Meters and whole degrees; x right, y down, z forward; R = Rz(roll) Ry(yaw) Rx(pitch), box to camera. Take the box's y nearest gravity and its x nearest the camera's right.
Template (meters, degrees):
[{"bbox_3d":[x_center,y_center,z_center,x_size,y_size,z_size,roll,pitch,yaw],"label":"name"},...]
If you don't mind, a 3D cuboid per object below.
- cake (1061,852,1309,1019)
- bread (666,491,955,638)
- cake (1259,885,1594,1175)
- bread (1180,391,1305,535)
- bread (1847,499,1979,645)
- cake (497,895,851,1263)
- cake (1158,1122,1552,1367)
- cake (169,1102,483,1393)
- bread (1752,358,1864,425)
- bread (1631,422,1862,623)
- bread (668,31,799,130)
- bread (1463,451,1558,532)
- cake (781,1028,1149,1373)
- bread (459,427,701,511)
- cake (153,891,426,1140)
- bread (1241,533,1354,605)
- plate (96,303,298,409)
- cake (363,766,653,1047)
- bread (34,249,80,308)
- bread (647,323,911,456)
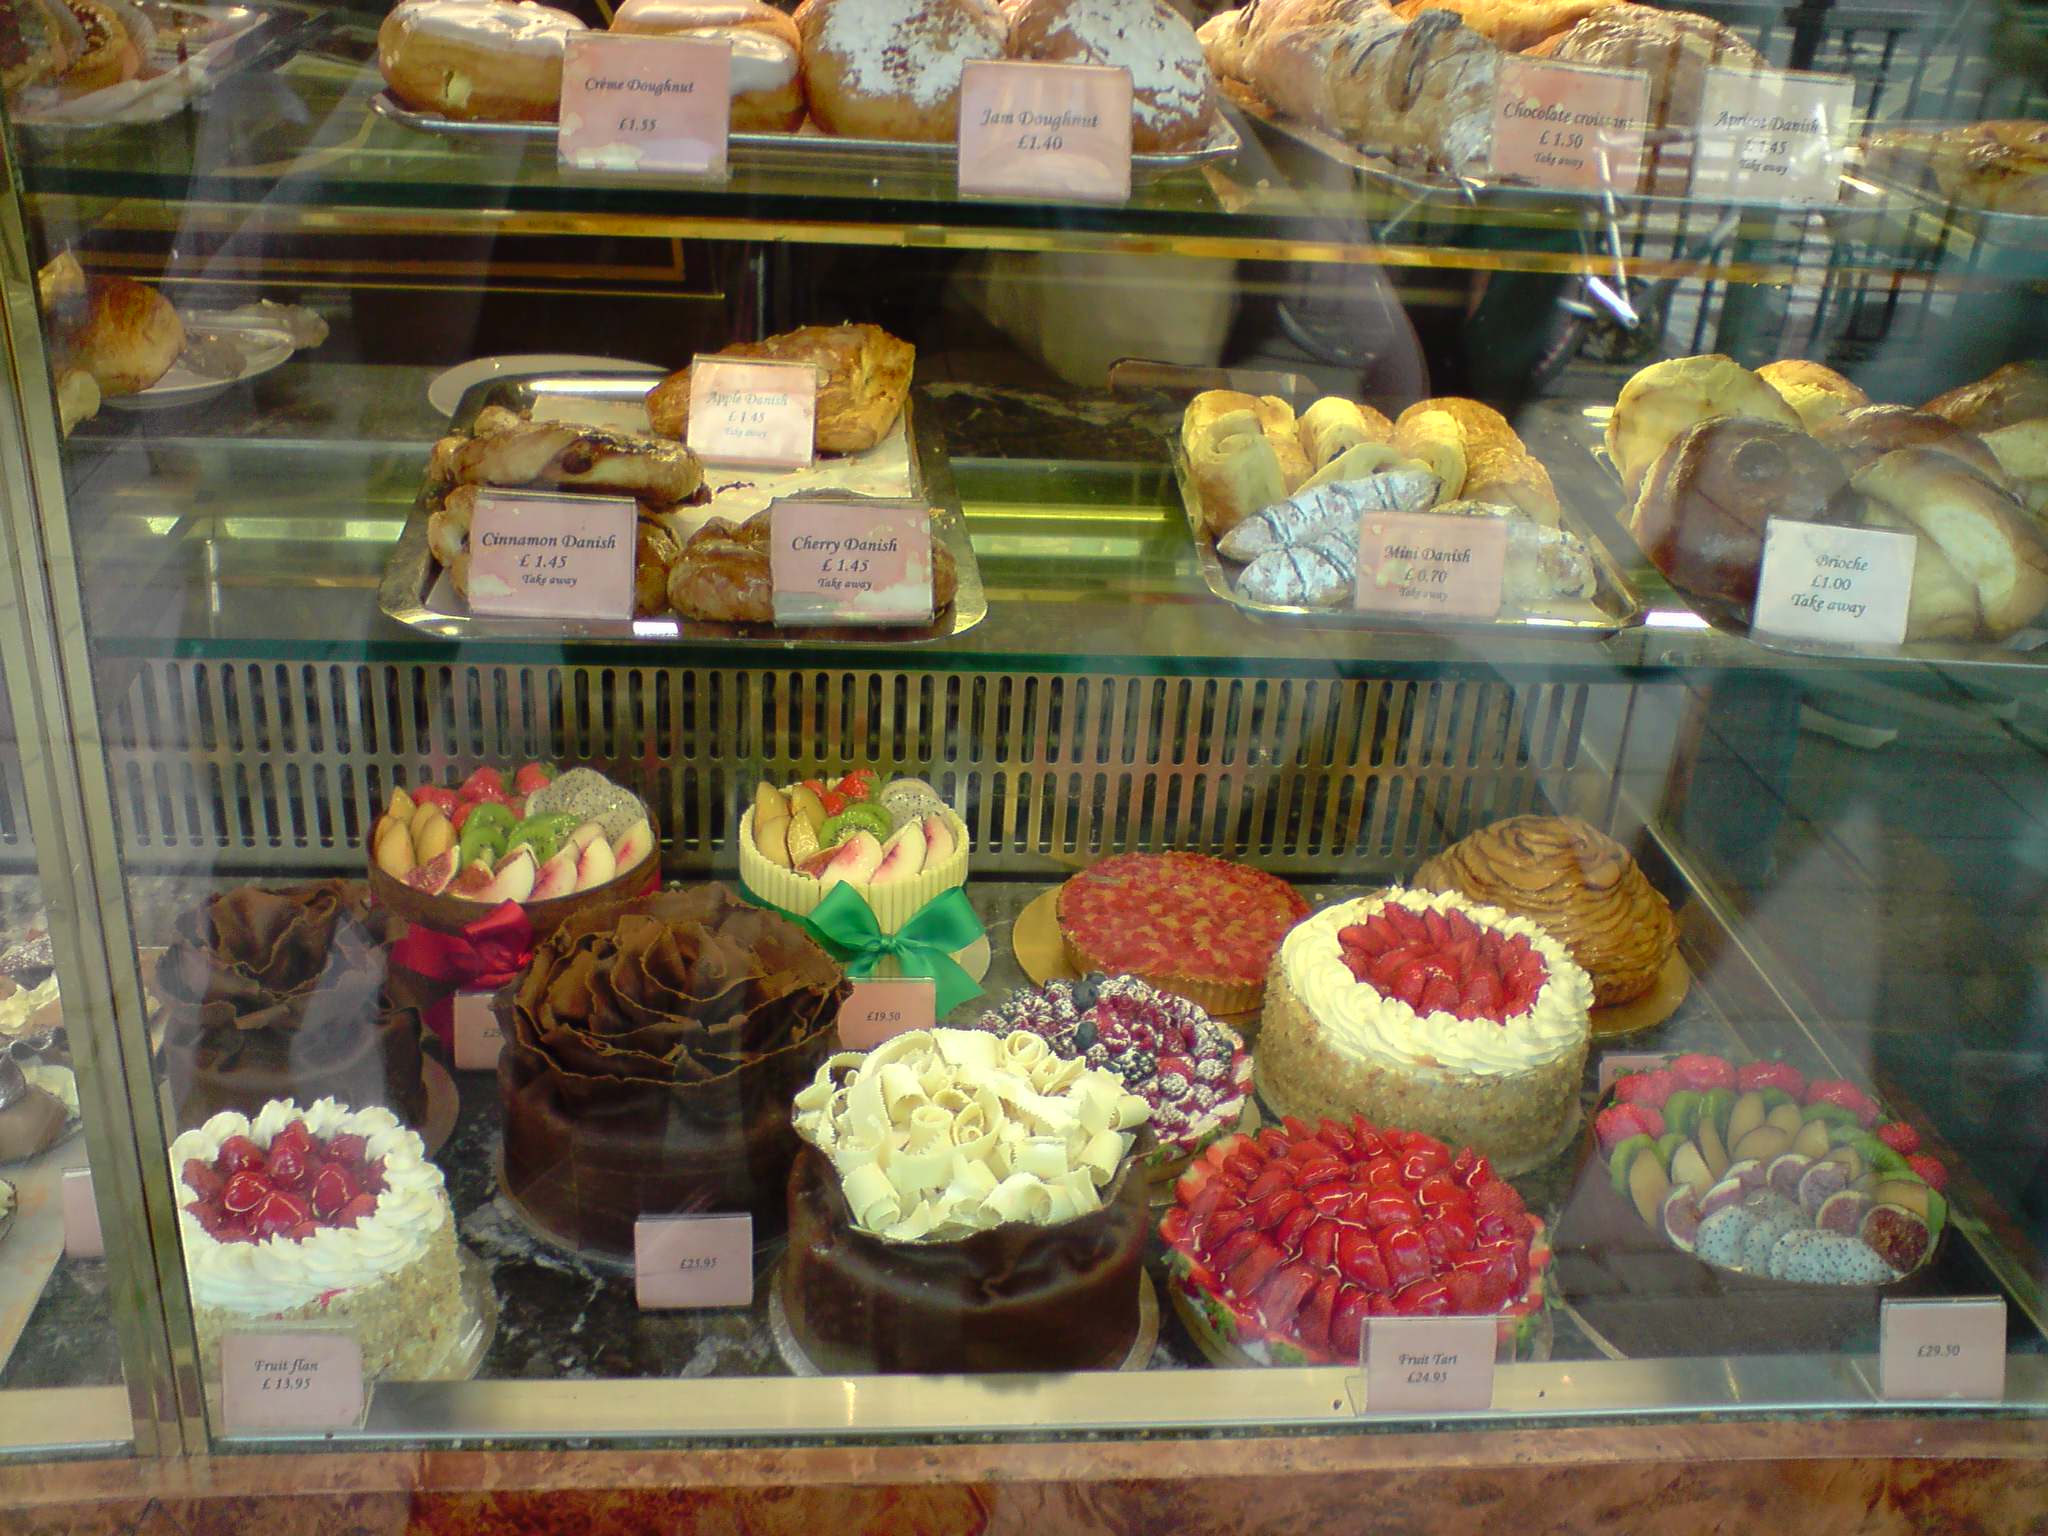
[{"bbox_3d":[0.187,0.178,2.020,0.207,0.047,0.207,19,34,19],"label":"cake"},{"bbox_3d":[-0.214,-0.202,1.648,0.206,0.060,0.151,1,37,-4],"label":"bread"},{"bbox_3d":[0.432,0.269,1.900,0.307,0.173,0.303,3,22,2],"label":"cake"},{"bbox_3d":[0.236,-0.331,1.813,0.104,0.063,0.176,-4,38,7],"label":"bread"},{"bbox_3d":[0.879,-0.194,1.673,0.108,0.143,0.048,-19,2,10],"label":"bread"},{"bbox_3d":[-0.366,0.284,1.790,0.353,0.235,0.346,-1,33,-8],"label":"cake"},{"bbox_3d":[0.325,0.467,1.679,0.374,0.131,0.226,6,31,2],"label":"cake"},{"bbox_3d":[-0.659,0.451,1.610,0.255,0.162,0.245,-6,33,-18],"label":"cake"},{"bbox_3d":[0.818,-0.383,1.773,0.090,0.027,0.078,12,42,-7],"label":"bread"},{"bbox_3d":[0.702,-0.222,1.669,0.183,0.197,0.118,-3,-6,22],"label":"bread"},{"bbox_3d":[-0.263,-0.622,1.524,0.092,0.060,0.092,12,43,7],"label":"bread"},{"bbox_3d":[0.514,-0.296,1.761,0.075,0.034,0.100,11,25,1],"label":"bread"},{"bbox_3d":[-0.056,0.412,1.658,0.375,0.235,0.284,2,32,-5],"label":"cake"},{"bbox_3d":[-0.441,-0.310,1.682,0.182,0.051,0.104,4,24,-7],"label":"bread"},{"bbox_3d":[-0.760,0.233,1.758,0.230,0.220,0.231,22,29,39],"label":"cake"},{"bbox_3d":[0.282,-0.205,1.690,0.093,0.027,0.065,-4,68,7],"label":"bread"},{"bbox_3d":[-0.805,-0.398,1.650,0.060,0.082,0.244,9,32,7],"label":"plate"},{"bbox_3d":[-0.550,0.173,1.950,0.309,0.209,0.291,3,30,-2],"label":"cake"},{"bbox_3d":[-0.788,-0.400,1.378,0.014,0.051,0.049,0,8,12],"label":"bread"},{"bbox_3d":[-0.254,-0.427,1.825,0.217,0.075,0.159,1,36,5],"label":"bread"}]
